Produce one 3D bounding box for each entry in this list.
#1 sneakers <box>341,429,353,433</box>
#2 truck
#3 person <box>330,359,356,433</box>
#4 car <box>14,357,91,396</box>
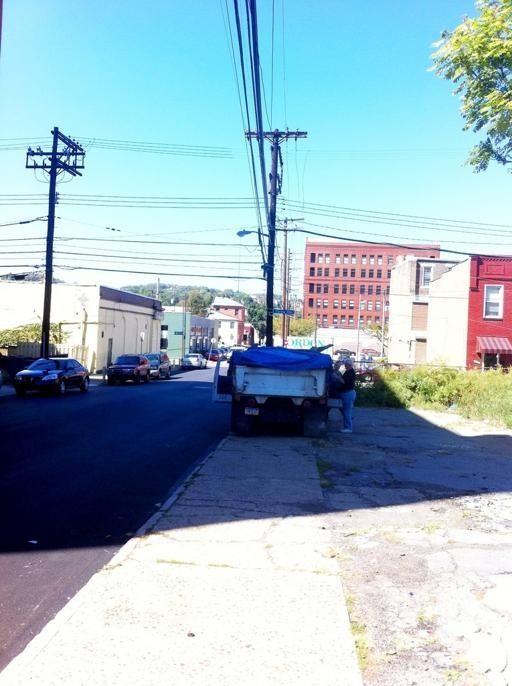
[{"bbox_3d":[2.125,2.047,13.560,0.265,0.111,0.092,3,-1,16],"label":"sneakers"},{"bbox_3d":[0.492,1.056,12.169,2.083,1.822,0.818,3,0,5],"label":"truck"},{"bbox_3d":[1.969,1.212,13.237,0.533,1.701,0.912,2,0,7],"label":"person"},{"bbox_3d":[-8.586,1.353,24.481,1.325,1.059,3.055,-2,-7,6],"label":"car"}]
